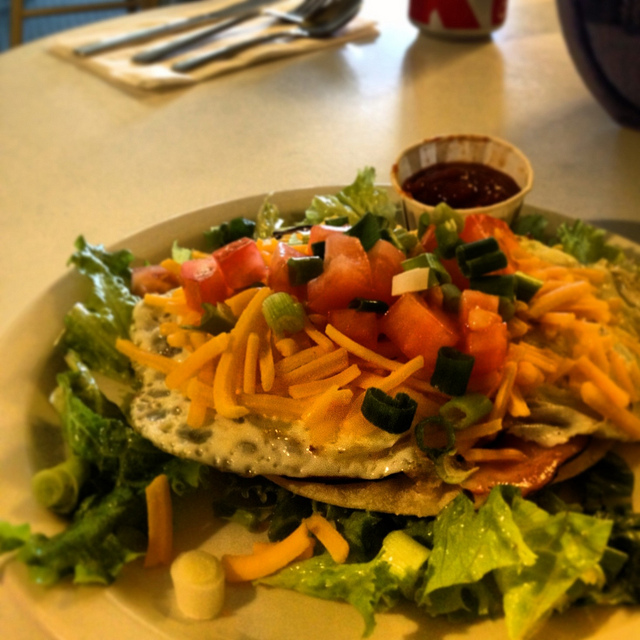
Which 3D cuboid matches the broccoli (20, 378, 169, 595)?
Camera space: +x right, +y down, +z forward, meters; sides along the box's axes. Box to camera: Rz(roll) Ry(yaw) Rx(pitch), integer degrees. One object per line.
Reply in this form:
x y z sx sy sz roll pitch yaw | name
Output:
-0.660 0.487 1.876 0.351 0.120 0.506 9 19 -38 | broccoli

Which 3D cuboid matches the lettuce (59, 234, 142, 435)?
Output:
-0.784 0.034 2.344 0.371 0.118 0.737 5 58 -21 | lettuce

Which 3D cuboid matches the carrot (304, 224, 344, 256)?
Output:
0.017 -0.246 2.024 0.116 0.092 0.104 -1 24 5 | carrot

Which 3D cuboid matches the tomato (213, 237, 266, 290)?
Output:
-0.228 -0.172 2.046 0.173 0.144 0.202 -12 2 -26 | tomato

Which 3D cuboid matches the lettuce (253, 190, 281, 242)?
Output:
-0.229 -0.433 2.745 0.129 0.165 0.305 -7 17 -2 | lettuce

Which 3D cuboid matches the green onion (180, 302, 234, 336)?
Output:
-0.302 -0.001 1.866 0.103 0.104 0.042 -8 20 -6 | green onion

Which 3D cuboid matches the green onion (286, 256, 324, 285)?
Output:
-0.039 -0.139 1.885 0.122 0.085 0.083 -10 1 -10 | green onion

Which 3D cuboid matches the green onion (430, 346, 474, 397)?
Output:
0.348 0.142 1.735 0.111 0.139 0.072 -4 20 7 | green onion

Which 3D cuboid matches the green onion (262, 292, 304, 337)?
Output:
-0.100 -0.013 1.826 0.111 0.114 0.067 -7 19 -4 | green onion

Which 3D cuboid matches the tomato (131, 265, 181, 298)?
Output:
-0.640 -0.148 2.492 0.153 0.061 0.183 -16 32 -19 | tomato

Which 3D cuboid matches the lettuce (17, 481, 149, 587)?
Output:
-0.608 0.606 1.797 0.219 0.135 0.361 4 19 26 | lettuce

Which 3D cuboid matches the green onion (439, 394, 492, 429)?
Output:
0.388 0.230 1.754 0.140 0.067 0.102 -15 19 -40 | green onion

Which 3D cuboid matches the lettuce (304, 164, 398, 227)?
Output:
0.122 -0.493 2.629 0.368 0.204 0.330 -16 20 -31 | lettuce

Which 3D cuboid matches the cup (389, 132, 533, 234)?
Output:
0.576 -0.582 2.681 0.593 0.215 0.519 -18 42 -12 | cup

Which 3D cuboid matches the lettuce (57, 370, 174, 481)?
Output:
-0.656 0.328 1.984 0.346 0.298 0.135 3 22 26 | lettuce

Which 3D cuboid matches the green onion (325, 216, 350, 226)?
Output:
0.063 -0.322 2.123 0.045 0.027 0.041 13 32 14 | green onion

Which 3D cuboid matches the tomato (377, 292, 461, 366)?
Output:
0.260 0.025 1.872 0.202 0.133 0.208 42 6 2 | tomato

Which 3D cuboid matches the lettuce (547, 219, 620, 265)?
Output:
1.007 -0.295 2.503 0.205 0.151 0.173 -13 19 -22 | lettuce

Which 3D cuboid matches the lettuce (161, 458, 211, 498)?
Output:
-0.395 0.473 1.973 0.144 0.055 0.120 -3 43 0 | lettuce

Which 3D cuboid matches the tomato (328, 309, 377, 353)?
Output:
0.096 0.033 1.888 0.167 0.037 0.110 30 46 8 | tomato

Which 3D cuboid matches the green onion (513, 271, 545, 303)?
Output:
0.631 -0.103 1.982 0.081 0.090 0.146 1 18 20 | green onion

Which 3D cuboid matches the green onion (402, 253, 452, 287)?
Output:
0.325 -0.131 1.865 0.110 0.073 0.114 41 7 38 | green onion

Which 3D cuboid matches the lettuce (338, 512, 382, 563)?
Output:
0.098 0.610 1.855 0.125 0.038 0.112 20 68 39 | lettuce

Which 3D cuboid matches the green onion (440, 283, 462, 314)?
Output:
0.360 -0.059 1.820 0.041 0.079 0.073 -14 59 8 | green onion

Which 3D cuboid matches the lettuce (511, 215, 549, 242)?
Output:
0.839 -0.374 2.628 0.152 0.125 0.040 15 -3 33 | lettuce
